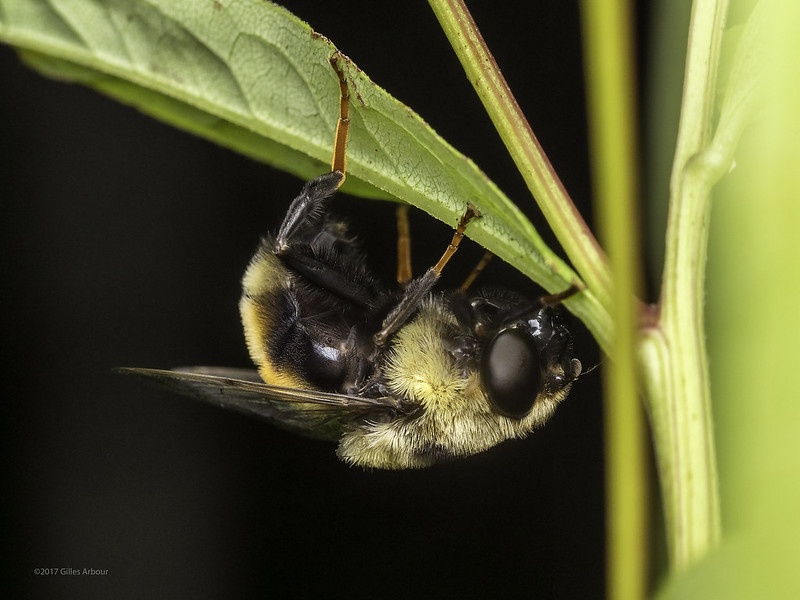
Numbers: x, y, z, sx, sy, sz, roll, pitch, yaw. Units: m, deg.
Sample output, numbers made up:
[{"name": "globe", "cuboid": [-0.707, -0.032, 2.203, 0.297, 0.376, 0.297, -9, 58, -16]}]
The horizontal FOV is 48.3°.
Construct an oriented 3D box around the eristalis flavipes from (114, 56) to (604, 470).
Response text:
[{"name": "eristalis flavipes", "cuboid": [-0.043, -0.069, 1.777, 0.858, 0.845, 0.393, 5, 28, 20]}]
